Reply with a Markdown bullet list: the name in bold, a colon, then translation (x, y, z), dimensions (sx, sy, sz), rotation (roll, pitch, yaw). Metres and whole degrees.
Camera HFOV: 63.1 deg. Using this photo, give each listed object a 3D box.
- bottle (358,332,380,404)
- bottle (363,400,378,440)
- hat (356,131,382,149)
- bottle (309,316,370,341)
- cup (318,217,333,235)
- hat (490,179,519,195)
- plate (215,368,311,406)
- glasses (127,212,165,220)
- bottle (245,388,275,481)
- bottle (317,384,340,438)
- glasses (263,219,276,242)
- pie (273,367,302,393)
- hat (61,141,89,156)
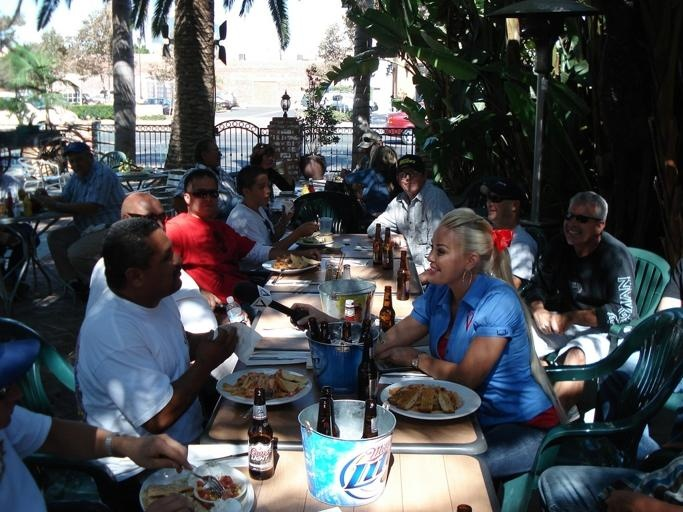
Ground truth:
- **bottle**: translation (0.125, 0.530, 2.537), dimensions (0.073, 0.281, 0.146), rotation (0, 7, -12)
- **bottle**: translation (0.105, 0.604, 2.020), dimensions (0.053, 0.149, 0.146), rotation (2, 6, 3)
- **hat**: translation (0.581, -2.190, 10.543), dimensions (0.564, 0.329, 0.410), rotation (-3, 6, -22)
- **bottle**: translation (0.000, 0.366, 2.780), dimensions (0.303, 0.129, 0.215), rotation (3, 6, 10)
- **cup**: translation (-0.180, -0.329, 6.071), dimensions (0.158, 0.172, 0.156), rotation (1, 18, 0)
- **hat**: translation (1.413, -0.553, 4.821), dimensions (0.187, 0.102, 0.142), rotation (17, 12, -9)
- **plate**: translation (-0.376, 0.635, 2.690), dimensions (0.457, 0.121, 0.291), rotation (2, 6, 0)
- **glasses**: translation (-1.288, -0.259, 3.626), dimensions (0.154, 0.052, 0.164), rotation (2, 2, 0)
- **bottle**: translation (-0.318, 0.683, 2.221), dimensions (0.109, 0.336, 0.232), rotation (1, 6, -7)
- **bottle**: translation (-0.051, 0.596, 2.110), dimensions (0.079, 0.195, 0.144), rotation (3, 7, 15)
- **glasses**: translation (-0.801, -0.275, 6.284), dimensions (0.070, 0.213, 0.149), rotation (-20, 9, 4)
- **pie**: translation (-0.256, 0.615, 2.713), dimensions (0.095, 0.039, 0.099), rotation (23, 14, 27)
- **hat**: translation (-3.451, -1.378, 7.214), dimensions (0.267, 0.155, 0.199), rotation (6, 6, -26)
